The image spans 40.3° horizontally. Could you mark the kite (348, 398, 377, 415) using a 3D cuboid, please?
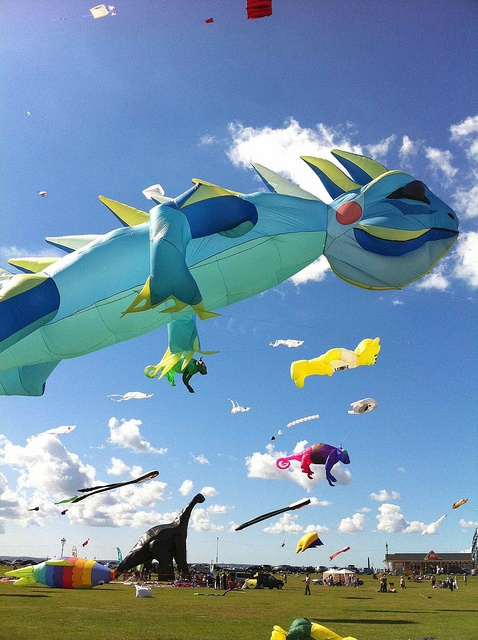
[{"bbox_3d":[3.190,2.195,16.725,0.540,0.299,0.891,-2,-11,4],"label":"kite"}]
